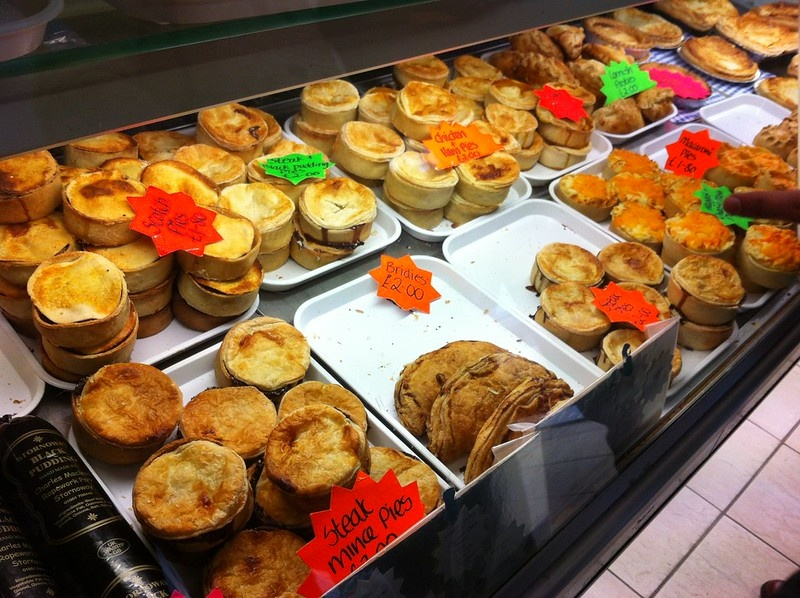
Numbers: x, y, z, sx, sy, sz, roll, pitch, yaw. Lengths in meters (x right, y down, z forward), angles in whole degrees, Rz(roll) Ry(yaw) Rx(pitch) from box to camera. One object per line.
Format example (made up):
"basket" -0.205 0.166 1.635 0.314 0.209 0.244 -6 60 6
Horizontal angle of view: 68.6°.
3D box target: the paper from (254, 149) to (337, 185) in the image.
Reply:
"paper" -0.463 -0.578 2.562 0.201 0.040 0.194 12 41 -6

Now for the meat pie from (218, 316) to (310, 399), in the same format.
"meat pie" -0.478 0.149 2.075 0.306 0.309 0.096 -32 38 -1

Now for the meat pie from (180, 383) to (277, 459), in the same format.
"meat pie" -0.541 0.363 1.886 0.293 0.287 0.065 1 30 -17

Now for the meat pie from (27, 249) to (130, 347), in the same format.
"meat pie" -0.991 -0.004 1.803 0.282 0.111 0.303 -12 61 -31

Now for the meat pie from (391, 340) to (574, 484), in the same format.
"meat pie" 0.265 0.389 2.002 0.447 0.202 0.511 -34 38 -27

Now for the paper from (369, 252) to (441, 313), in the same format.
"paper" 0.018 -0.061 2.510 0.246 0.031 0.225 17 57 -17

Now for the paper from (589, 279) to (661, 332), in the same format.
"paper" 0.937 0.030 2.441 0.226 0.025 0.196 31 54 19

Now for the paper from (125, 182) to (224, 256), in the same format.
"paper" -0.772 -0.266 2.004 0.250 0.011 0.270 40 37 -13

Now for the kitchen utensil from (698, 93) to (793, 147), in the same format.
"kitchen utensil" 2.255 -1.200 3.856 0.495 0.082 0.481 -30 57 -27

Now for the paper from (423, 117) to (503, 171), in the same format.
"paper" 0.265 -0.736 2.774 0.385 0.020 0.247 -6 77 -34

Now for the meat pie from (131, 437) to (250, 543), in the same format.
"meat pie" -0.584 0.536 1.636 0.298 0.109 0.261 1 50 -1

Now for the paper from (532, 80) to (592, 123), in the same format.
"paper" 0.882 -1.067 3.211 0.264 0.026 0.210 40 55 4
